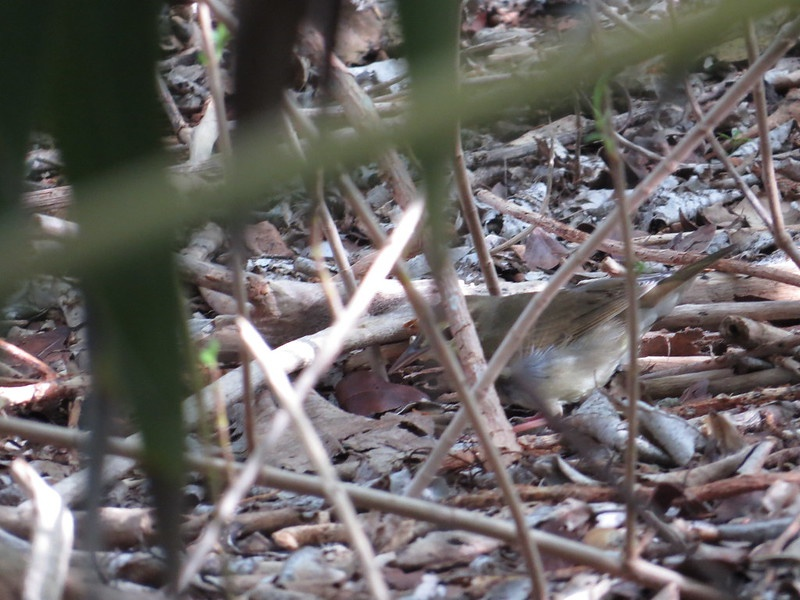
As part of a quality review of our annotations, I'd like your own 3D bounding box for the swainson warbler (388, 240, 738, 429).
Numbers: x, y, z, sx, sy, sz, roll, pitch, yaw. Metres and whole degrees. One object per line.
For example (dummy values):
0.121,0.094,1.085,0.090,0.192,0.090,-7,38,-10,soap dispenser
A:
0.560,0.087,3.306,0.829,0.588,0.746,23,50,38,swainson warbler
